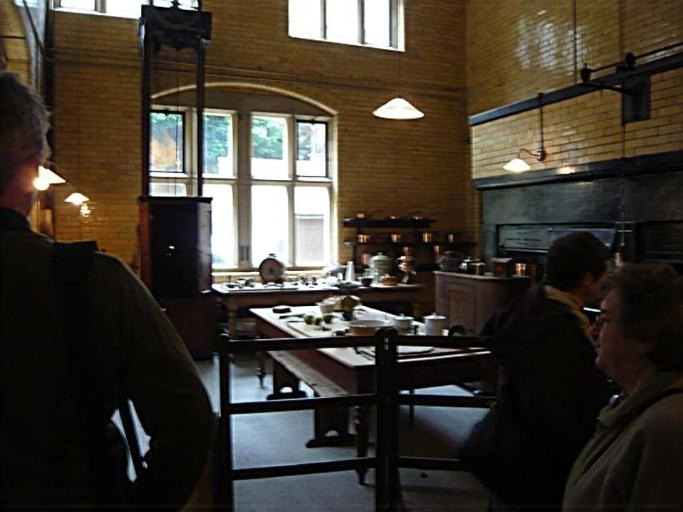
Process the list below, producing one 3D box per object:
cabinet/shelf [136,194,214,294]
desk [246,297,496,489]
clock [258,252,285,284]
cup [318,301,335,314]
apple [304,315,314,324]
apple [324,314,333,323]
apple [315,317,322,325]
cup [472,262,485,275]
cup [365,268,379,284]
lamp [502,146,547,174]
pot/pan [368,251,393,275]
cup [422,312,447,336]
[{"bbox_3d":[-2.352,-0.113,7.490,1.394,1.264,1.252,-2,6,-17],"label":"cabinet/shelf"},{"bbox_3d":[-0.264,1.305,6.238,0.907,1.407,3.535,-22,-11,-14],"label":"desk"},{"bbox_3d":[-1.042,0.190,8.289,0.361,0.393,0.398,0,-1,-10],"label":"clock"},{"bbox_3d":[-0.143,0.490,5.650,0.138,0.074,0.119,3,-3,-29],"label":"cup"},{"bbox_3d":[-0.290,0.566,5.307,0.080,0.051,0.075,0,-7,-4],"label":"apple"},{"bbox_3d":[-0.118,0.555,5.261,0.077,0.050,0.071,2,-10,-9],"label":"apple"},{"bbox_3d":[-0.202,0.570,5.237,0.057,0.038,0.054,1,-10,-12],"label":"apple"},{"bbox_3d":[1.550,0.142,6.952,0.188,0.170,0.180,1,-4,0],"label":"cup"},{"bbox_3d":[0.408,0.299,8.833,0.301,0.250,0.201,2,-8,-9],"label":"cup"},{"bbox_3d":[2.284,-1.189,7.403,0.726,0.352,0.330,1,-4,-32],"label":"lamp"},{"bbox_3d":[0.629,0.122,9.090,0.348,0.312,0.325,0,-4,15],"label":"pot/pan"},{"bbox_3d":[0.736,0.536,4.690,0.170,0.170,0.194,3,-9,-14],"label":"cup"}]
